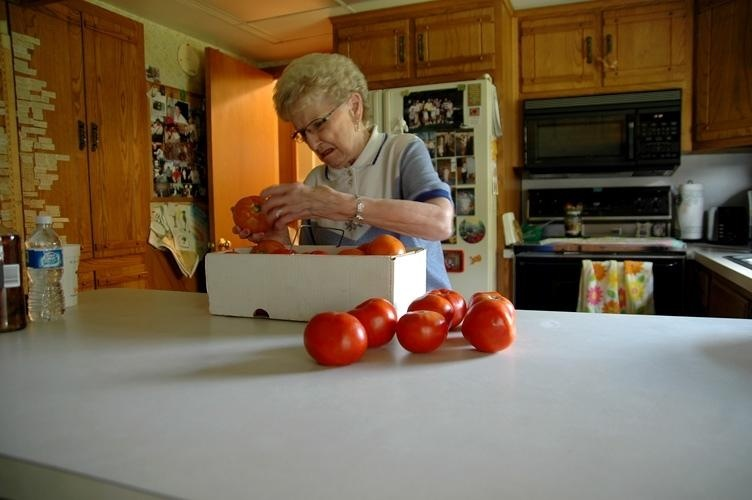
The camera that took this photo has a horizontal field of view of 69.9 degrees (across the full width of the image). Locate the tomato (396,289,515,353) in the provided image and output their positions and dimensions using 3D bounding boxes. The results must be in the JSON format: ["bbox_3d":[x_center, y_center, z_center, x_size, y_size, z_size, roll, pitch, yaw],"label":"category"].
[{"bbox_3d":[0.168,0.152,1.175,0.205,0.088,0.121,-4,-4,1],"label":"tomato"}]

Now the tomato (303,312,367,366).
[{"bbox_3d":[-0.084,0.189,1.081,0.109,0.084,0.105,4,-14,-3],"label":"tomato"}]

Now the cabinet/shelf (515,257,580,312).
[{"bbox_3d":[1.007,0.193,3.281,0.456,0.439,0.327,-2,-7,19],"label":"cabinet/shelf"}]

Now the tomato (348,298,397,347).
[{"bbox_3d":[0.001,0.154,1.232,0.100,0.094,0.099,-22,-3,-31],"label":"tomato"}]

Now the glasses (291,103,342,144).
[{"bbox_3d":[-0.188,-0.433,1.742,0.126,0.037,0.122,-45,12,-32],"label":"glasses"}]

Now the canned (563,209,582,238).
[{"bbox_3d":[1.367,-0.201,3.680,0.134,0.206,0.097,-1,14,1],"label":"canned"}]

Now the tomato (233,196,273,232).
[{"bbox_3d":[-0.363,-0.106,1.601,0.149,0.116,0.065,7,16,30],"label":"tomato"}]

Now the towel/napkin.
[{"bbox_3d":[1.365,0.204,3.006,0.304,0.240,0.054,-1,0,16],"label":"towel/napkin"}]

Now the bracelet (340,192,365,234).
[{"bbox_3d":[-0.059,-0.104,1.542,0.069,0.100,0.096,3,9,5],"label":"bracelet"}]

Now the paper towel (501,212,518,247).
[{"bbox_3d":[0.891,-0.150,3.566,0.110,0.208,0.198,3,14,17],"label":"paper towel"}]

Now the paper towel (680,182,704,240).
[{"bbox_3d":[2.051,-0.253,3.491,0.162,0.360,0.108,3,14,16],"label":"paper towel"}]
